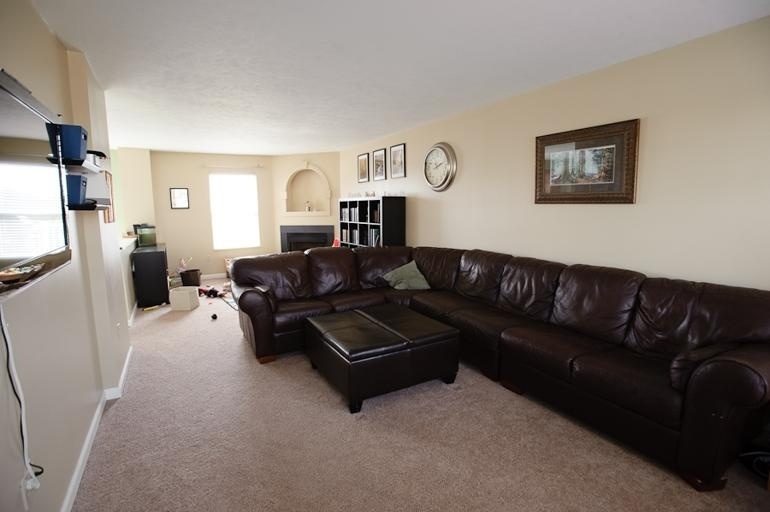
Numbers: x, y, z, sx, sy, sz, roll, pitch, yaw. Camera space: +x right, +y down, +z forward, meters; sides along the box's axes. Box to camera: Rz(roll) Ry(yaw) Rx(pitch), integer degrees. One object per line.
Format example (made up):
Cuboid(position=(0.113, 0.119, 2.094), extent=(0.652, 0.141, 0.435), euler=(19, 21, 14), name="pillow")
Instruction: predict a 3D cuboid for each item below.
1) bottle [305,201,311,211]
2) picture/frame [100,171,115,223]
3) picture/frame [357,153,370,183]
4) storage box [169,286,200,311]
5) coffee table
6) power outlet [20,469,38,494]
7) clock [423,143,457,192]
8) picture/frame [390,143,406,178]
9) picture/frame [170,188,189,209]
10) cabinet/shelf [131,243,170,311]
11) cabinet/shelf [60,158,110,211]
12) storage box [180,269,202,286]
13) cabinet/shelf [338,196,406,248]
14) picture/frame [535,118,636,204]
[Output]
Cuboid(position=(-1.487, -0.976, 9.497), extent=(0.109, 0.170, 0.278), euler=(-3, 14, -10), name="bottle")
Cuboid(position=(-2.786, -0.579, 4.915), extent=(0.099, 0.460, 0.086), euler=(-6, 6, -20), name="picture/frame")
Cuboid(position=(-0.355, -1.499, 8.251), extent=(0.050, 0.605, 0.540), euler=(-1, 2, -28), name="picture/frame")
Cuboid(position=(-2.871, 0.613, 7.027), extent=(0.340, 0.328, 0.342), euler=(-1, 4, -12), name="storage box")
Cuboid(position=(-0.086, 0.833, 4.738), extent=(0.995, 0.459, 1.011), euler=(-4, 7, -28), name="coffee table")
Cuboid(position=(-2.231, 1.408, 3.066), extent=(0.108, 0.143, 0.054), euler=(-3, -14, -26), name="power outlet")
Cuboid(position=(0.751, -1.191, 6.514), extent=(0.114, 0.782, 0.736), euler=(0, -3, -25), name="clock")
Cuboid(position=(0.209, -1.440, 7.342), extent=(0.027, 0.668, 0.580), euler=(0, 1, -29), name="picture/frame")
Cuboid(position=(-3.688, -1.042, 8.743), extent=(0.353, 0.431, 0.028), euler=(9, 5, -45), name="picture/frame")
Cuboid(position=(-3.357, 0.336, 6.979), extent=(0.299, 0.558, 0.901), euler=(-5, 10, -21), name="cabinet/shelf")
Cuboid(position=(-2.454, -0.573, 4.051), extent=(0.245, 0.369, 0.456), euler=(-4, 3, -16), name="cabinet/shelf")
Cuboid(position=(-3.176, 0.347, 8.139), extent=(0.229, 0.372, 0.392), euler=(-2, 1, 13), name="storage box")
Cuboid(position=(-0.234, -0.490, 7.510), extent=(0.961, 0.795, 0.291), euler=(3, 10, 44), name="cabinet/shelf")
Cuboid(position=(2.033, -0.949, 4.851), extent=(0.045, 0.686, 0.970), euler=(-2, 3, -38), name="picture/frame")
